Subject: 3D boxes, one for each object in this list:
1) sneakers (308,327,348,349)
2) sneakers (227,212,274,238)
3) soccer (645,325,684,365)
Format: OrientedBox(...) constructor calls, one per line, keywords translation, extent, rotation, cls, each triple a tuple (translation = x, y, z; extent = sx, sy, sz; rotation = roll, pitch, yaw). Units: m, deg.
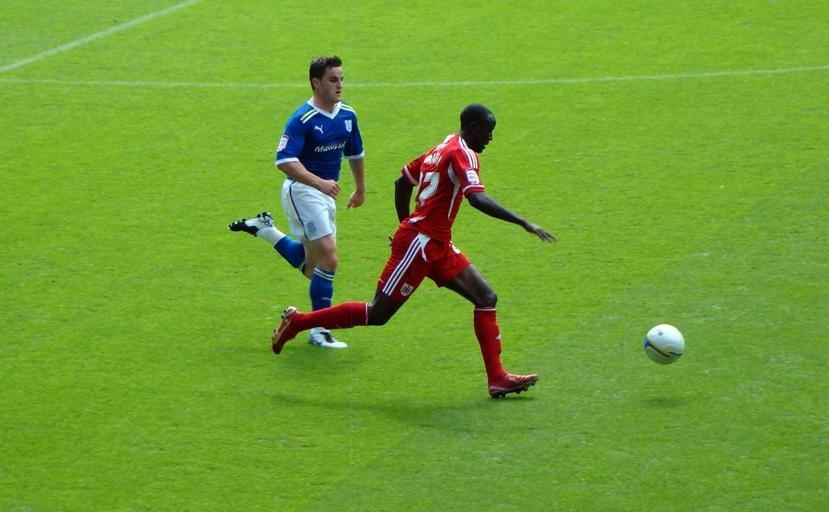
OrientedBox(translation=(-0.839, 0.828, 14.710), extent=(0.557, 0.163, 0.156), rotation=(6, 10, 5), cls="sneakers")
OrientedBox(translation=(-1.652, -0.337, 15.090), extent=(0.506, 0.244, 0.156), rotation=(-13, 95, 7), cls="sneakers")
OrientedBox(translation=(2.439, 0.887, 14.121), extent=(0.399, 0.501, 0.361), rotation=(7, 53, 8), cls="soccer")
